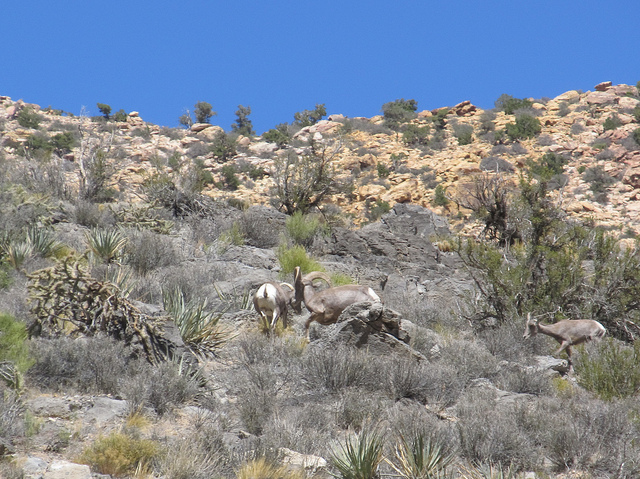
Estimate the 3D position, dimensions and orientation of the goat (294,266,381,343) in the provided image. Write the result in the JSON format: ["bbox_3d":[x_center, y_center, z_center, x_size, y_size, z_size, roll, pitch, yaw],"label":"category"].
[{"bbox_3d":[0.260,1.276,15.084,1.813,1.633,0.807,-3,-14,19],"label":"goat"}]

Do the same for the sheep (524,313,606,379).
[{"bbox_3d":[4.941,2.150,15.499,1.468,1.178,0.657,-2,-19,22],"label":"sheep"}]

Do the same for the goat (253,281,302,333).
[{"bbox_3d":[-0.942,1.224,15.743,0.573,1.250,1.873,1,10,6],"label":"goat"}]
